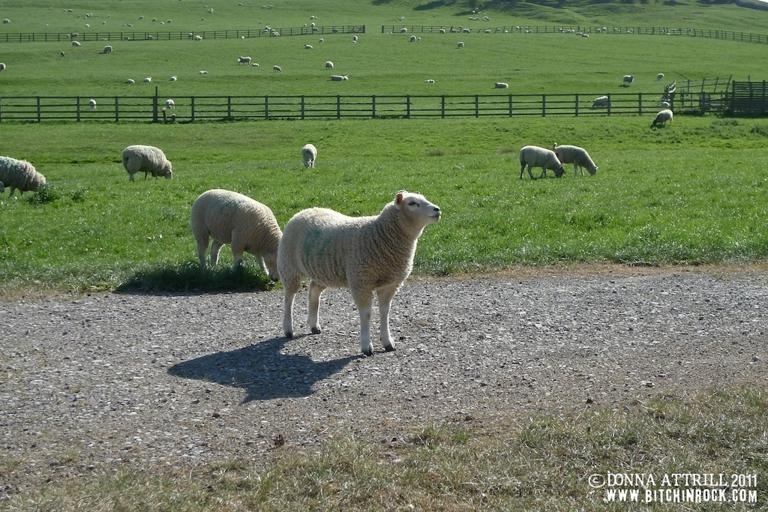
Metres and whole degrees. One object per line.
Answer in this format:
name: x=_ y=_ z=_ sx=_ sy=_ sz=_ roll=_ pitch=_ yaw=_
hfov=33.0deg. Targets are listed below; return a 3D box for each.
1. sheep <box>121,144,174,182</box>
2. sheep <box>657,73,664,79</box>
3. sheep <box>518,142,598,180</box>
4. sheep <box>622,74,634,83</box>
sheep: x=-13.044 y=-5.153 z=71.605 sx=2.421 sy=1.812 sz=0.921 roll=-6 pitch=12 yaw=-18
sheep: x=26.603 y=-17.285 z=125.131 sx=0.722 sy=0.328 sz=0.947 roll=-2 pitch=14 yaw=7
sheep: x=9.606 y=-5.411 z=73.257 sx=4.629 sy=1.771 sz=2.929 roll=-6 pitch=12 yaw=-20
sheep: x=22.616 y=-16.439 z=120.428 sx=0.973 sy=0.568 sz=1.261 roll=2 pitch=19 yaw=3
